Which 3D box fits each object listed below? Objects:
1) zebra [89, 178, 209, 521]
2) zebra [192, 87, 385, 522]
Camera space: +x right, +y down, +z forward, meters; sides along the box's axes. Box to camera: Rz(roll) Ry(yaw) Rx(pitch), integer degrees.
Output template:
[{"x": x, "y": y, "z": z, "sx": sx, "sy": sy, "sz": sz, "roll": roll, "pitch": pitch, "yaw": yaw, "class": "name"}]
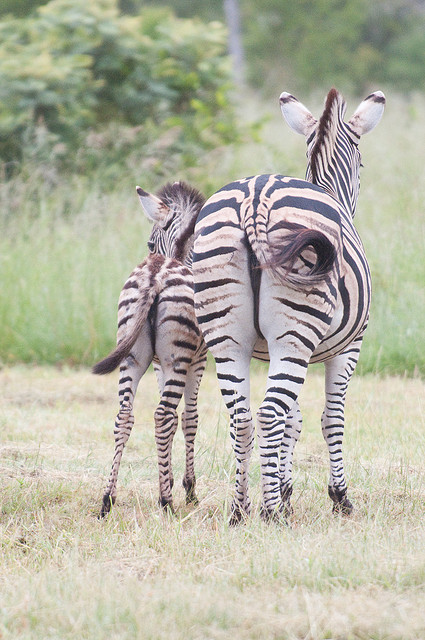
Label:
[{"x": -0.304, "y": 0.161, "z": 5.659, "sx": 0.546, "sy": 1.384, "sz": 1.214, "roll": -1, "pitch": 27, "yaw": 0, "class": "zebra"}, {"x": 0.465, "y": -0.139, "z": 5.771, "sx": 0.672, "sy": 2.291, "sz": 2.540, "roll": 2, "pitch": 4, "yaw": 16, "class": "zebra"}]
